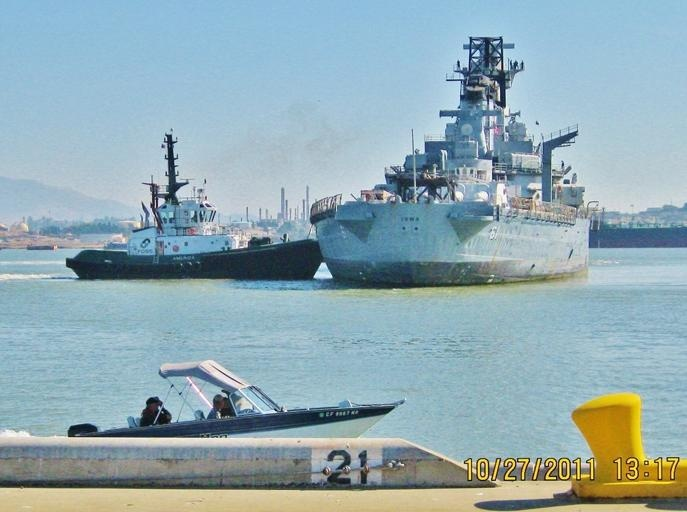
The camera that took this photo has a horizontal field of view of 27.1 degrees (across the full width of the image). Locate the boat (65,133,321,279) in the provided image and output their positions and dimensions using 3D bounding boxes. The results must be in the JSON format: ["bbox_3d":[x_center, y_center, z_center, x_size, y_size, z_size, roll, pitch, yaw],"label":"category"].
[{"bbox_3d":[-9.861,-2.528,94.740,19.901,8.087,5.298,-1,9,26],"label":"boat"}]
